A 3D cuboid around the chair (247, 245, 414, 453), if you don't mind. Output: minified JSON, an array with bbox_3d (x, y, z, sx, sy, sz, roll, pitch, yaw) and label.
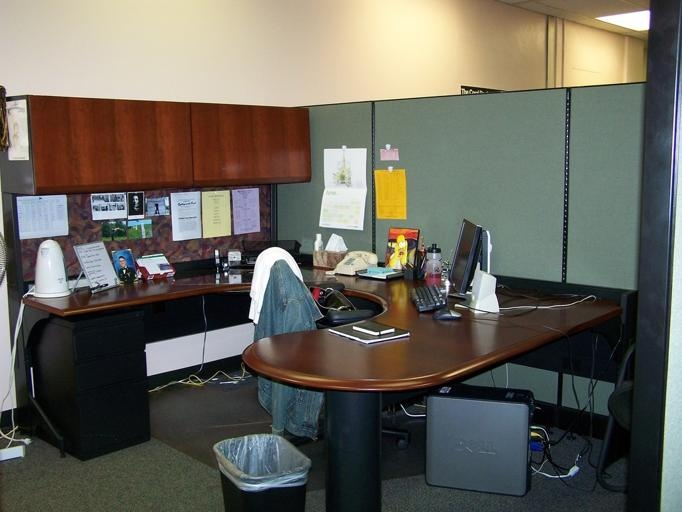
[{"bbox_3d":[-0.007,0.339,3.218,0.843,1.543,0.861,2,10,6],"label":"chair"}]

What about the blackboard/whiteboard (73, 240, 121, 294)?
[{"bbox_3d":[-1.473,0.077,3.240,0.022,0.253,0.316,-24,-5,19],"label":"blackboard/whiteboard"}]

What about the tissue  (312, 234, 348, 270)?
[{"bbox_3d":[-0.085,-0.033,3.839,0.223,0.221,0.174,3,3,17],"label":"tissue "}]

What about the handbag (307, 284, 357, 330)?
[{"bbox_3d":[-0.067,0.269,2.885,0.181,0.081,0.200,-10,16,-41],"label":"handbag"}]

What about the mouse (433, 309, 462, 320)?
[{"bbox_3d":[0.498,0.271,2.529,0.088,0.031,0.056,-3,14,-4],"label":"mouse"}]

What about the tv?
[{"bbox_3d":[0.702,0.020,2.895,0.175,0.371,0.403,1,9,-1],"label":"tv"}]

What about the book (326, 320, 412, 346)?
[{"bbox_3d":[0.126,0.320,2.328,0.300,0.031,0.252,-7,13,-28],"label":"book"}]
